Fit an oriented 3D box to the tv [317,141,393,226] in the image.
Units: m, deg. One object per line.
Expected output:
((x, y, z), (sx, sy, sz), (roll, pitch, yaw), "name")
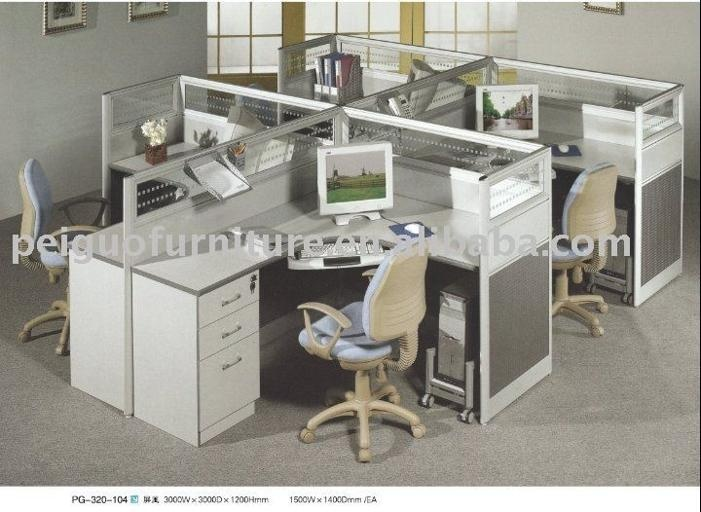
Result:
((0.028, -0.469, 4.276), (0.479, 0.462, 0.266), (-5, 18, -13), "tv")

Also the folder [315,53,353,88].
((-0.162, -1.759, 6.278), (0.297, 0.126, 0.376), (1, 25, 11), "folder")

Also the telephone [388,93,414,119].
((0.408, -1.209, 5.362), (0.049, 0.194, 0.211), (-10, 9, 43), "telephone")

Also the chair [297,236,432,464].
((0.091, 0.456, 3.797), (0.678, 1.096, 0.766), (11, 17, 38), "chair")

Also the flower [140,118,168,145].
((-1.545, -0.997, 5.322), (0.226, 0.215, 0.227), (8, 13, 25), "flower")
